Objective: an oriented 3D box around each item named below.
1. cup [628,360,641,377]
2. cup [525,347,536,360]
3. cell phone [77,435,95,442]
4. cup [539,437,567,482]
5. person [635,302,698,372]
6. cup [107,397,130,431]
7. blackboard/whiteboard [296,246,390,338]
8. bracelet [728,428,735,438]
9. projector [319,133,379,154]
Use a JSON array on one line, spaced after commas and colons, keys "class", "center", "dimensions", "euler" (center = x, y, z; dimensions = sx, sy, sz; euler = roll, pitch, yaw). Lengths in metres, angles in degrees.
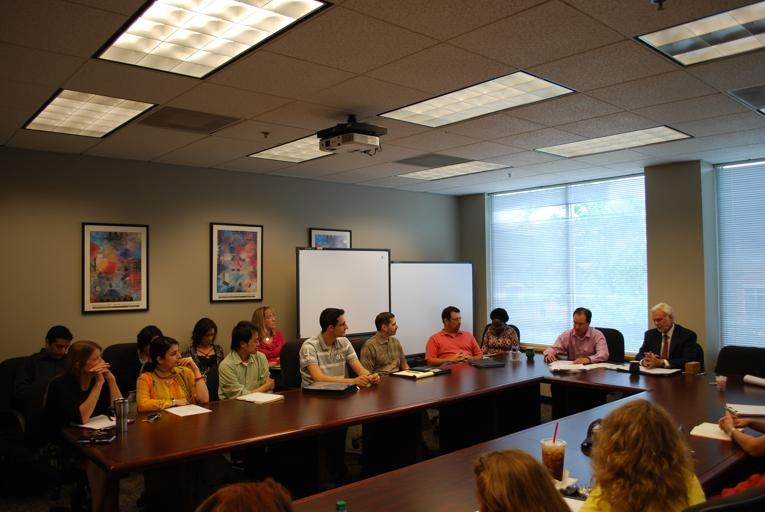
[{"class": "cup", "center": [2.443, 1.084, 5.045], "dimensions": [0.117, 0.116, 0.115], "euler": [-1, -2, 0]}, {"class": "cup", "center": [1.689, 1.091, 5.822], "dimensions": [0.149, 0.147, 0.143], "euler": [1, -8, 0]}, {"class": "cell phone", "center": [-1.997, 1.224, 3.505], "dimensions": [0.066, 0.037, 0.153], "euler": [1, -3, -37]}, {"class": "cup", "center": [0.935, 1.189, 3.035], "dimensions": [0.152, 0.202, 0.141], "euler": [9, -16, 3]}, {"class": "person", "center": [3.128, 0.877, 5.683], "dimensions": [0.568, 0.939, 0.555], "euler": [17, -20, -27]}, {"class": "cup", "center": [-1.818, 1.103, 3.633], "dimensions": [0.087, 0.221, 0.101], "euler": [0, -1, -28]}, {"class": "blackboard/whiteboard", "center": [-0.574, 0.484, 6.880], "dimensions": [1.446, 1.024, 0.098], "euler": [1, -2, -33]}, {"class": "bracelet", "center": [2.288, 1.160, 3.417], "dimensions": [0.029, 0.054, 0.101], "euler": [-1, -2, 31]}, {"class": "projector", "center": [-0.307, -1.094, 5.042], "dimensions": [0.492, 0.124, 0.345], "euler": [-2, -3, 41]}]
